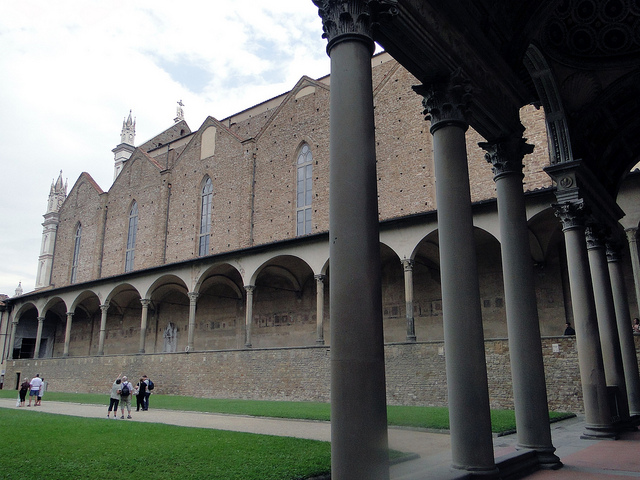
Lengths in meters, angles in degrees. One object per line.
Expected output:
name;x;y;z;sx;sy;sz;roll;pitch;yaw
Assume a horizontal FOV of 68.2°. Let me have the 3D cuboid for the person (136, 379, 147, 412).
person;-6.867;5.948;18.230;0.370;1.246;1.191;6;-19;-20
